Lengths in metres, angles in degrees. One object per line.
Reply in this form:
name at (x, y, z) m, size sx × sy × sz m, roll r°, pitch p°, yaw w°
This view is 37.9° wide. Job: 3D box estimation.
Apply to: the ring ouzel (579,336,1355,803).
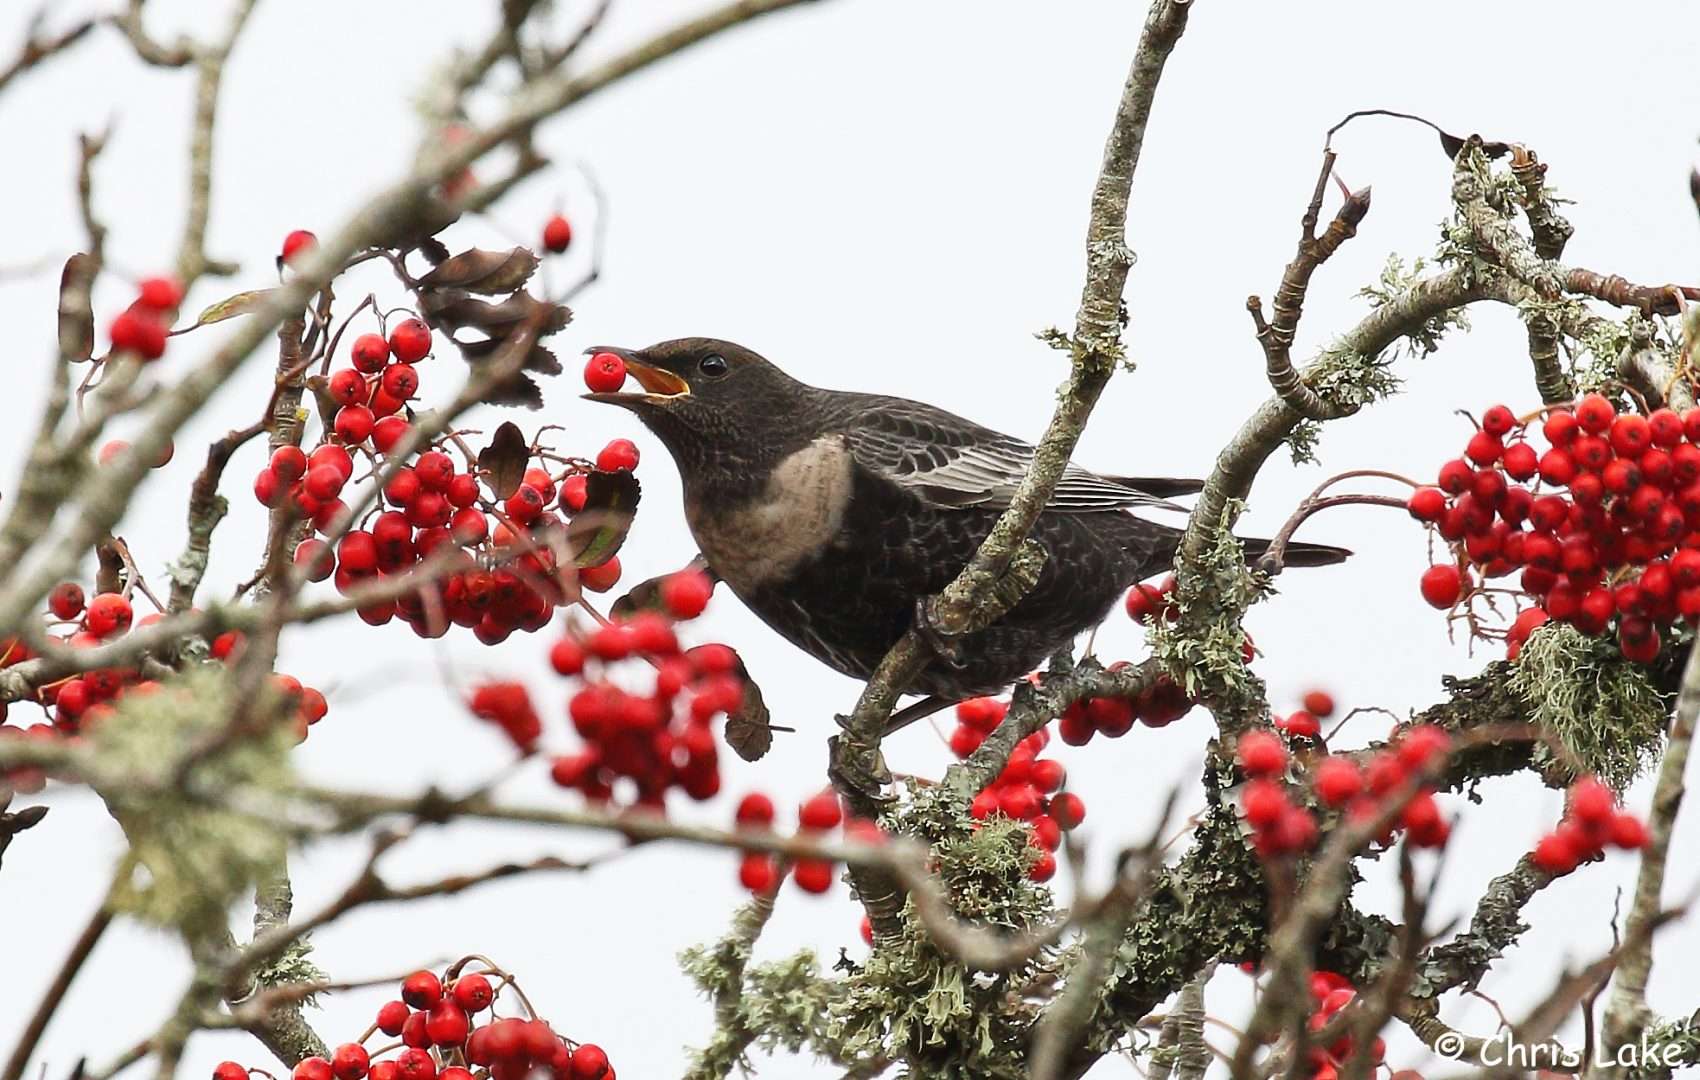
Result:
ring ouzel at (0.304, -0.027, 5.533) m, size 1.768 × 0.801 × 0.622 m, roll 0°, pitch -16°, yaw -27°
